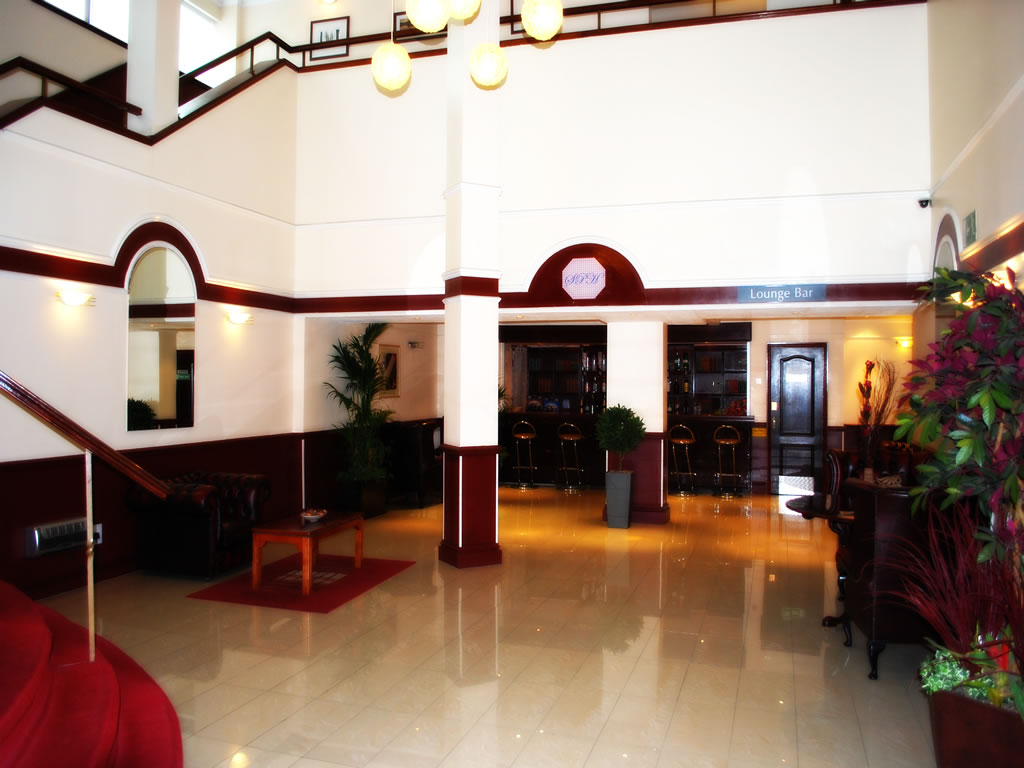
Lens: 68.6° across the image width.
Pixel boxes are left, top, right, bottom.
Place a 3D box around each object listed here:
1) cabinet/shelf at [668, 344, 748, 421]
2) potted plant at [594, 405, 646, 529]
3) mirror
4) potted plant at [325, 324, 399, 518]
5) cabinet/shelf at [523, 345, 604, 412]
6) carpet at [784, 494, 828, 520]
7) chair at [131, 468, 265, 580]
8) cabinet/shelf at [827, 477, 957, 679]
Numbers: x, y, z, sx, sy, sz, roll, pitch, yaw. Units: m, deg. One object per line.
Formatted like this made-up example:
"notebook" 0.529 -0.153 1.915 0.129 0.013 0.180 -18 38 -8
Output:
"cabinet/shelf" 3.736 -0.041 14.063 1.177 1.299 0.419 1 -1 17
"potted plant" 1.528 1.130 10.539 0.604 1.642 0.531 2 7 15
"mirror" -3.956 -0.515 8.459 0.233 2.026 0.995 3 7 19
"potted plant" -2.251 0.518 11.064 0.766 2.795 0.711 2 7 15
"cabinet/shelf" 1.085 -0.129 14.899 1.073 1.053 0.384 1 0 18
"carpet" 4.549 1.858 11.549 0.544 0.253 1.505 3 8 23
"chair" -3.539 1.540 8.525 0.967 1.004 1.418 1 -4 5
"cabinet/shelf" 3.224 1.647 6.278 0.890 1.277 0.723 4 -7 -10
